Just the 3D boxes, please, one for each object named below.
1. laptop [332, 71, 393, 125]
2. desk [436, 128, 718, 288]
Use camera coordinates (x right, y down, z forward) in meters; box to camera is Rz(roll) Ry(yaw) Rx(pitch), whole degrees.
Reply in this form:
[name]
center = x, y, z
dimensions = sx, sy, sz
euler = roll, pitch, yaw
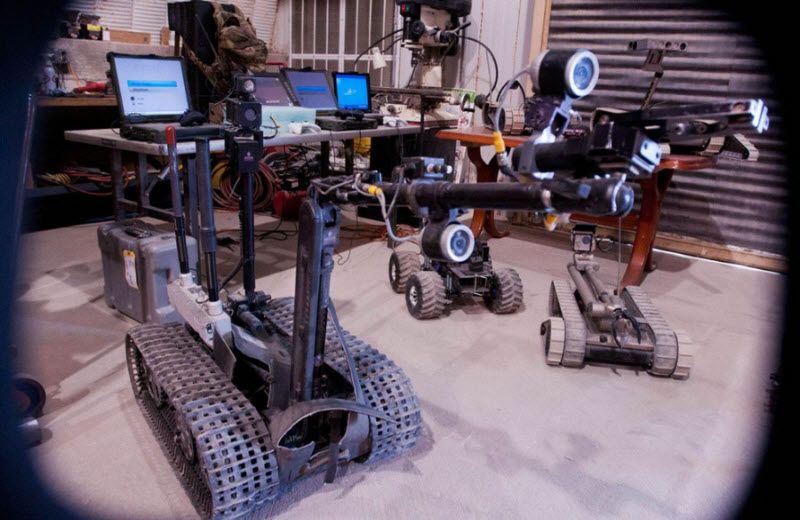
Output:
[laptop]
center = -0.426, -1.735, 5.933
dimensions = 0.480, 0.462, 0.402
euler = -12, 24, -36
[desk]
center = 1.638, -0.738, 5.967
dimensions = 2.804, 1.290, 1.883
euler = 13, 25, 27
